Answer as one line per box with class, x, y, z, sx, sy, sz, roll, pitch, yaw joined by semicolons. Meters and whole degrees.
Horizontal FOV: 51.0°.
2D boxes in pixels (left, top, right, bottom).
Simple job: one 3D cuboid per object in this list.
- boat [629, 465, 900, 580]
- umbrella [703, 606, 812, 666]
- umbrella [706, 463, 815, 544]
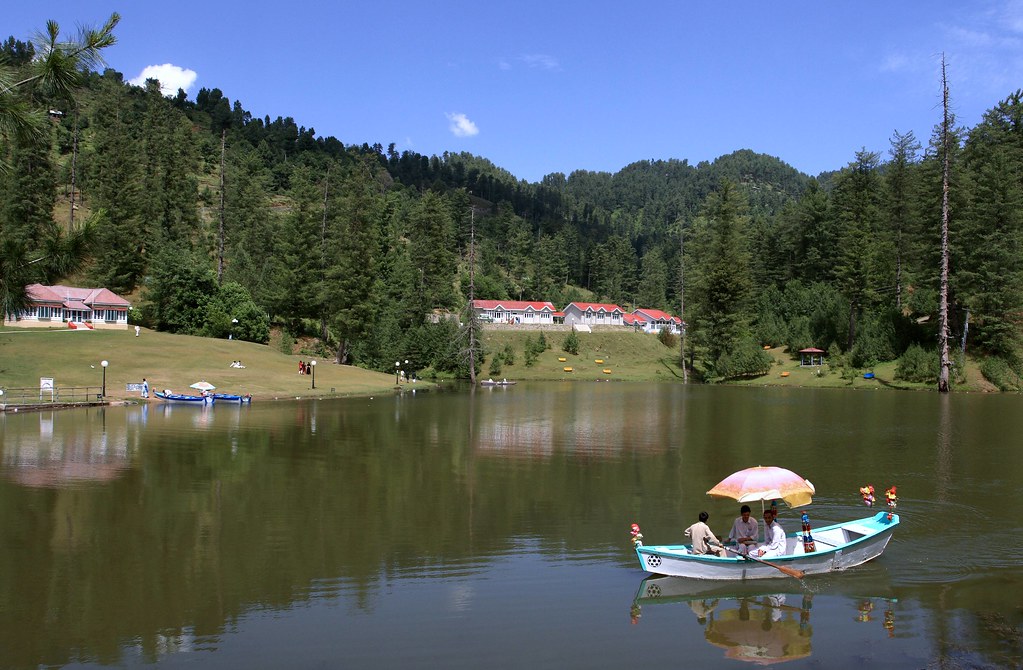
boat;15.162;11.526;64.607;7.509;5.119;15.085;-3;-2;-24
umbrella;13.288;16.245;57.746;5.209;1.561;3.343;3;12;12
umbrella;14.790;9.390;62.018;3.863;1.491;3.757;14;-16;-30
